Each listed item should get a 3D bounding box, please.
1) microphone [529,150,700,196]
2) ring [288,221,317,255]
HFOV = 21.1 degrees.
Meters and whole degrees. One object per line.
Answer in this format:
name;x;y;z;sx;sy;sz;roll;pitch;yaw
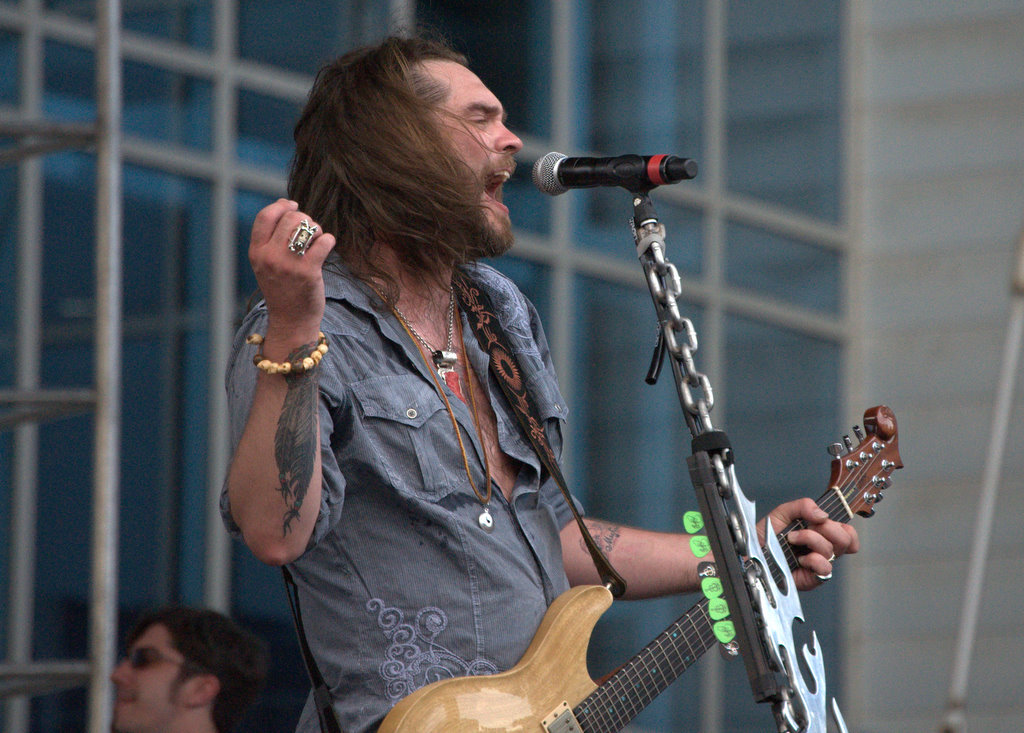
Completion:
microphone;0.331;-0.611;8.948;0.616;0.178;0.186;0;3;31
ring;-0.652;-0.413;8.656;0.072;0.111;0.030;27;0;2
